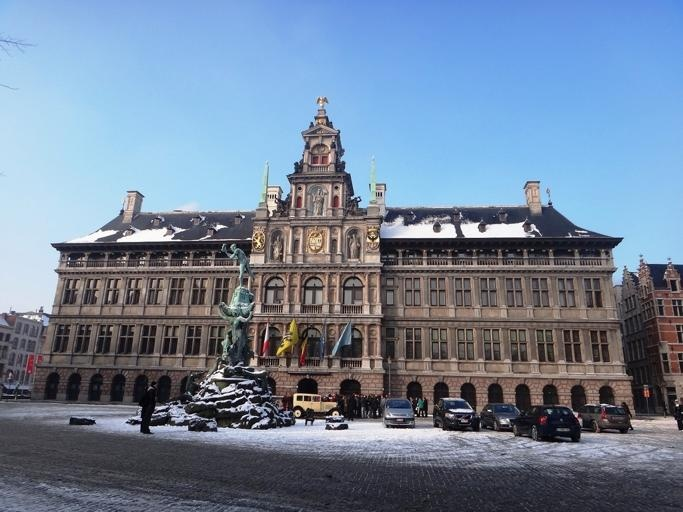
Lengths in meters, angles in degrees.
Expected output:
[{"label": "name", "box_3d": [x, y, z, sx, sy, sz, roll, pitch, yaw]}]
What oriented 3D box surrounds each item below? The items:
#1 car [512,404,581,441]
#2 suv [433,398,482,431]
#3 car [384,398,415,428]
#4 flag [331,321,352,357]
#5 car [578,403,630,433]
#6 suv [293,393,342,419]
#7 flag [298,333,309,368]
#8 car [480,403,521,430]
[{"label": "car", "box_3d": [10.296, 8.328, 22.732, 2.333, 1.573, 3.673, 5, -19, -10]}, {"label": "suv", "box_3d": [7.141, 9.691, 27.928, 1.896, 1.838, 2.554, 5, -20, -10]}, {"label": "car", "box_3d": [3.702, 10.100, 29.290, 1.968, 1.766, 1.662, 1, -20, 0]}, {"label": "flag", "box_3d": [0.015, 8.081, 45.684, 2.039, 3.631, 2.624, 2, -21, 0]}, {"label": "car", "box_3d": [16.236, 9.846, 27.641, 1.552, 1.634, 2.945, 2, -19, -2]}, {"label": "suv", "box_3d": [-2.370, 12.721, 37.994, 4.746, 2.111, 2.384, -1, -12, -1]}, {"label": "flag", "box_3d": [-3.979, 9.511, 46.295, 0.745, 3.265, 1.066, 3, -22, -4]}, {"label": "car", "box_3d": [9.888, 9.900, 28.143, 1.619, 0.951, 3.046, 1, -19, -6]}]
